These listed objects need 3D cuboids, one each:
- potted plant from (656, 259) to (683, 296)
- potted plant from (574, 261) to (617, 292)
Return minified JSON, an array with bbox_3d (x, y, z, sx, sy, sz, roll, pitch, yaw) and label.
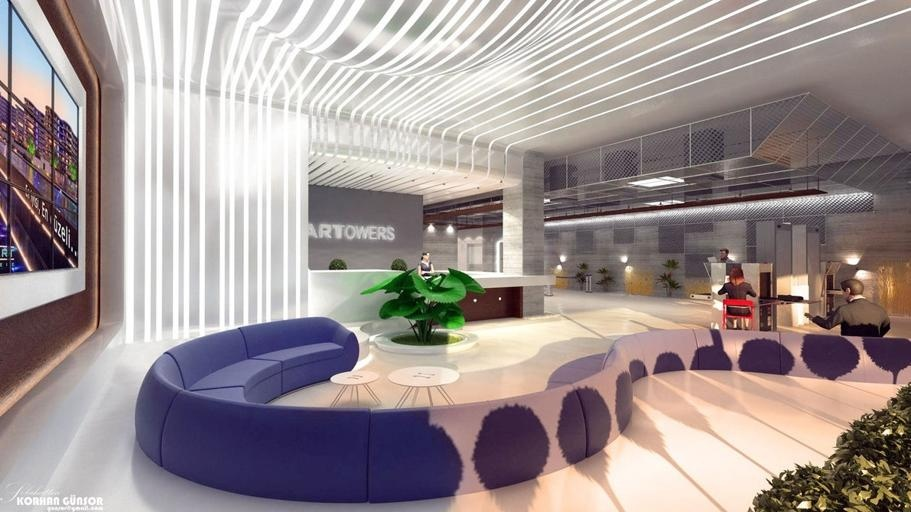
[{"bbox_3d":[9.054,0.909,19.659,0.332,1.585,0.930,-1,2,-33],"label":"potted plant"},{"bbox_3d":[6.736,0.961,22.253,1.573,1.068,1.481,-2,1,-18],"label":"potted plant"}]
